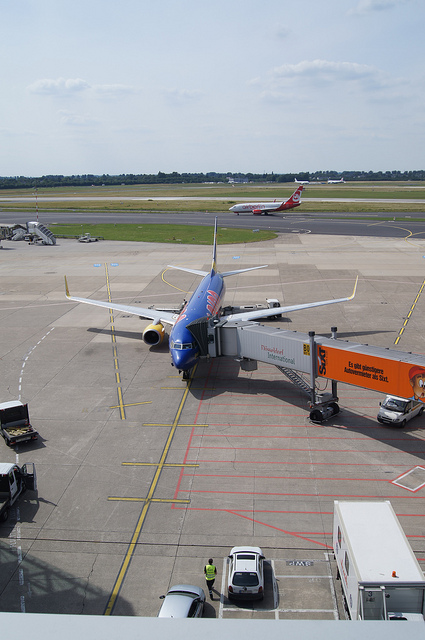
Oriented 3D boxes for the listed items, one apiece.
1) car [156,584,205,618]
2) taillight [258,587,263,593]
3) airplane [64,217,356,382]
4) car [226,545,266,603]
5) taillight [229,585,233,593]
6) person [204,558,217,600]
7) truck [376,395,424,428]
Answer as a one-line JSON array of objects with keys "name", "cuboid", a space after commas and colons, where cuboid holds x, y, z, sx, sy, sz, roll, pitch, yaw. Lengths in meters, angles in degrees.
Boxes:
[{"name": "car", "cuboid": [-1.087, 10.058, 18.696, 1.193, 0.684, 1.917, -1, 2, 16]}, {"name": "taillight", "cuboid": [1.776, 9.961, 19.759, 0.243, 0.228, 0.056, -4, 3, -44]}, {"name": "airplane", "cuboid": [-3.293, -0.805, 48.972, 22.190, 6.766, 19.172, 1, 24, 8]}, {"name": "car", "cuboid": [1.325, 9.595, 20.602, 0.953, 0.734, 2.018, 1, 21, 3]}, {"name": "taillight", "cuboid": [0.659, 9.940, 19.788, 0.169, 0.326, 0.068, 1, 3, 42]}, {"name": "person", "cuboid": [-0.094, 9.797, 20.495, 0.355, 1.426, 0.783, -1, 2, 0]}, {"name": "truck", "cuboid": [12.374, 5.925, 35.111, 1.843, 1.439, 3.234, 7, 1, 34]}]
